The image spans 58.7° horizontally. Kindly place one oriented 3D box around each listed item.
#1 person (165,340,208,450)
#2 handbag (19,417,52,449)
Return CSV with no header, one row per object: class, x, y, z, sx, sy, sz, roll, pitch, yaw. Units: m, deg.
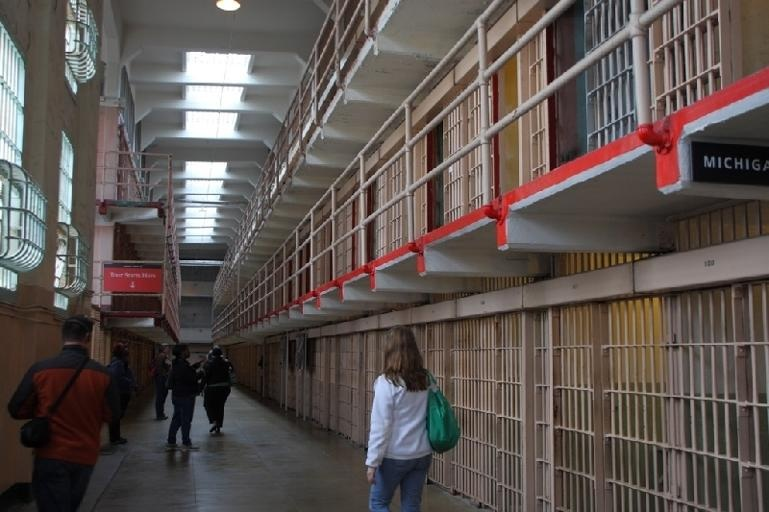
person,-3.372,2.318,11.477,0.506,1.704,1.401,3,-7,-15
handbag,-2.786,1.397,5.445,0.190,0.271,0.255,-8,-9,36
